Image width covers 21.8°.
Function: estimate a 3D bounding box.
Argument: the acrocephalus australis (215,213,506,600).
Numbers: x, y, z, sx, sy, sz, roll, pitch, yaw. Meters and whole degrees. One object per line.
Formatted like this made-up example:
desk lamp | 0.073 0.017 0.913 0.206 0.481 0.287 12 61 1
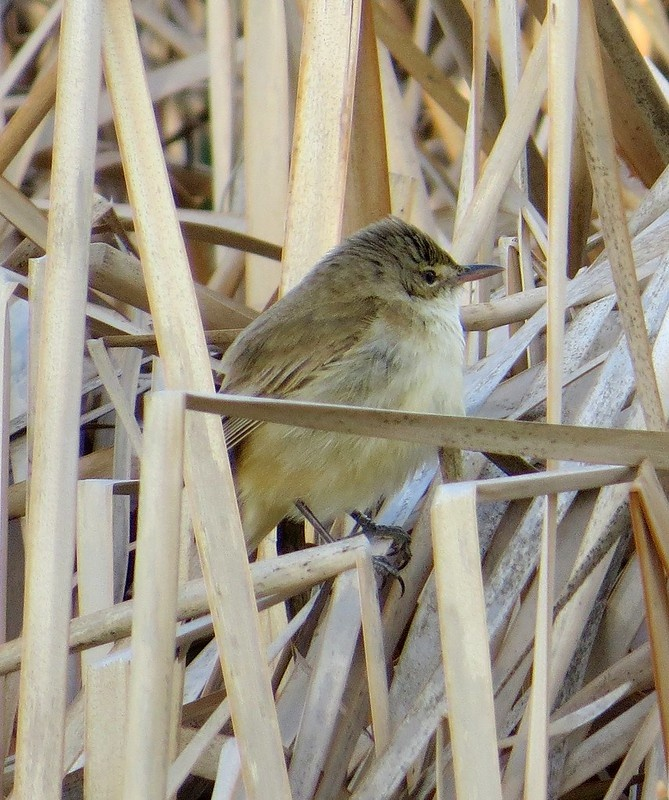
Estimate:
acrocephalus australis | 0.038 0.069 4.583 0.809 1.220 0.575 0 -18 4
